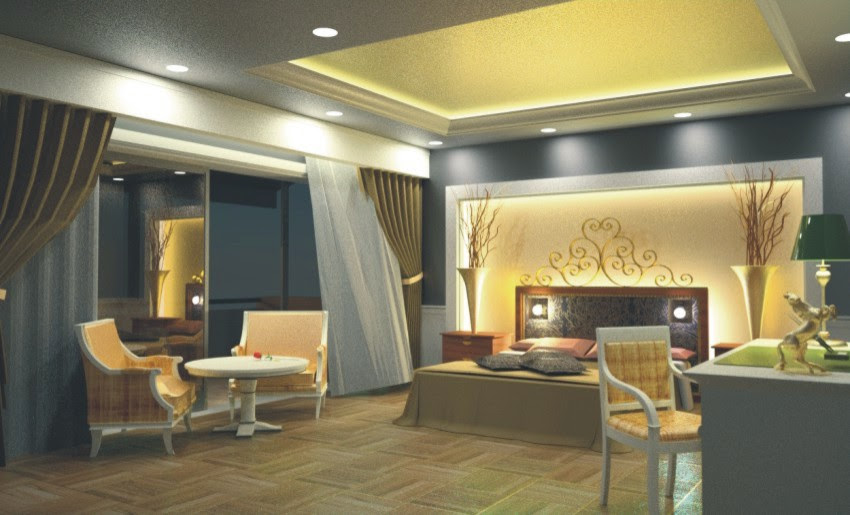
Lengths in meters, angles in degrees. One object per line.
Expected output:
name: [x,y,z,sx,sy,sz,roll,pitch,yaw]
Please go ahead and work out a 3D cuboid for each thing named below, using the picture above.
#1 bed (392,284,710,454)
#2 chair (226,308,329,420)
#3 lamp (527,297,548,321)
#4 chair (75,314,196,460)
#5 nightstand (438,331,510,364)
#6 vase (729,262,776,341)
bed: [1.814,1.189,7.308,3.282,1.384,3.151,-2,-1,-43]
chair: [-1.797,1.238,7.090,1.211,1.008,0.856,1,-2,-2]
lamp: [1.623,0.766,8.368,0.328,0.276,0.079,5,4,34]
chair: [-3.092,1.345,6.227,1.046,1.195,0.932,4,1,-10]
nightstand: [0.764,1.307,8.694,0.846,0.690,0.529,-2,-5,28]
vase: [4.164,0.571,7.270,0.474,0.952,0.567,3,5,29]
